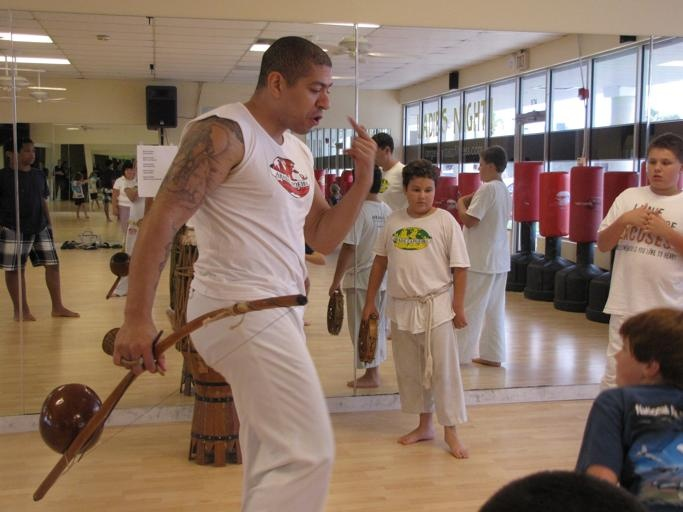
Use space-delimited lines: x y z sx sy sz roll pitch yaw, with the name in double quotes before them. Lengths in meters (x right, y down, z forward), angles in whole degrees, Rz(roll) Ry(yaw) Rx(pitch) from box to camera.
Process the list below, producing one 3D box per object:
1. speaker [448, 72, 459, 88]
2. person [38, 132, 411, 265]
"speaker" 0.787 -1.232 4.079 0.075 0.126 0.022 2 7 7
"person" -0.274 -0.212 1.997 0.925 0.462 0.207 -5 9 -38
